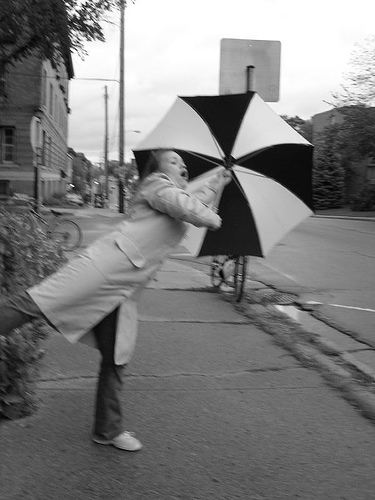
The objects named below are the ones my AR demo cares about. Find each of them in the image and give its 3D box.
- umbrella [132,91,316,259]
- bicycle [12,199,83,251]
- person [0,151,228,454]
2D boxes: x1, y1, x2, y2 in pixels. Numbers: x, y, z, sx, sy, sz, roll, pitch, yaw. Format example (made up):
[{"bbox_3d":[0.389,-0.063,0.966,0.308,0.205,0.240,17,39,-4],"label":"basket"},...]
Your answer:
[{"bbox_3d":[0.438,-0.758,5.188,1.630,1.655,0.901,2,5,-25],"label":"umbrella"},{"bbox_3d":[-2.900,-0.509,11.331,1.653,0.930,0.796,20,-5,-14],"label":"bicycle"},{"bbox_3d":[-0.378,0.257,2.606,1.036,1.574,0.329,3,5,-16],"label":"person"}]
